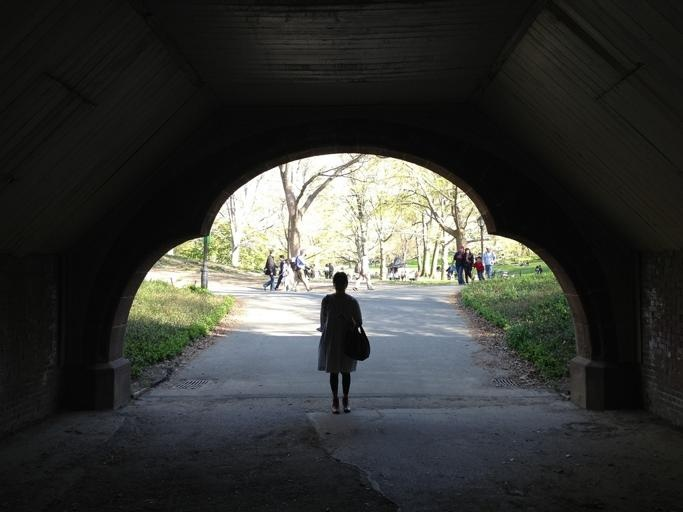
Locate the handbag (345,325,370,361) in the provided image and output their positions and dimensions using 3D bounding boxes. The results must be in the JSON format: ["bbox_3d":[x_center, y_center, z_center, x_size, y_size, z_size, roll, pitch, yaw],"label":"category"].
[{"bbox_3d":[0.220,1.216,7.177,0.338,0.492,0.179,3,-5,-4],"label":"handbag"}]

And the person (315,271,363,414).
[{"bbox_3d":[-0.030,1.244,7.399,0.582,2.020,0.590,2,-5,-2],"label":"person"}]
